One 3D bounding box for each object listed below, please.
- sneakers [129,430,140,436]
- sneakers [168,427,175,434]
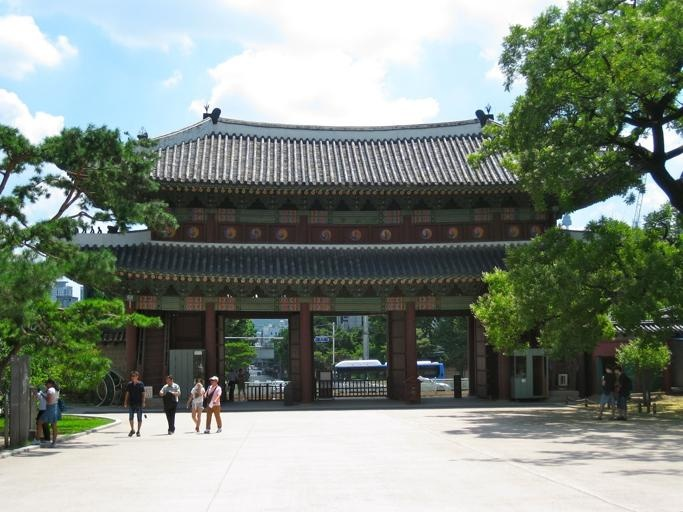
[{"bbox_3d":[-6.551,5.622,25.963,0.438,0.202,0.160,4,-5,-12],"label":"sneakers"},{"bbox_3d":[-5.489,5.664,26.424,0.147,0.193,0.179,-2,23,3],"label":"sneakers"}]
